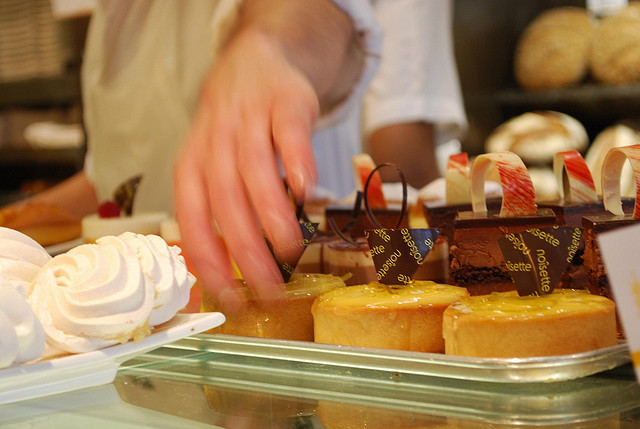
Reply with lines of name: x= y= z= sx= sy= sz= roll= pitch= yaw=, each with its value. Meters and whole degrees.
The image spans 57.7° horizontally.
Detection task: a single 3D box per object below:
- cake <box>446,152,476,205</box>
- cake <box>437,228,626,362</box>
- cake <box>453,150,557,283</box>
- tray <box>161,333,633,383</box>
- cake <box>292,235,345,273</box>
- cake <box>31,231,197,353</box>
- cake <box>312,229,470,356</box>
cake: x=0.333 y=-0.081 z=1.369 sx=0.044 sy=0.131 sz=0.131 roll=1 pitch=6 yaw=13
cake: x=0.423 y=0.151 z=1.145 sx=0.316 sy=0.240 sz=0.329 roll=-6 pitch=-6 yaw=10
cake: x=0.413 y=0.084 z=1.271 sx=0.200 sy=0.353 sz=0.224 roll=6 pitch=-26 yaw=22
tray: x=0.108 y=0.254 z=1.053 sx=0.844 sy=0.103 sz=0.091 roll=-5 pitch=8 yaw=15
cake: x=-0.013 y=0.093 z=1.475 sx=0.086 sy=0.092 sz=0.087 roll=-1 pitch=4 yaw=3
cake: x=-0.389 y=0.137 z=1.116 sx=0.297 sy=0.180 sz=0.199 roll=-11 pitch=8 yaw=-29
cake: x=0.141 y=0.102 z=1.167 sx=0.262 sy=0.206 sz=0.255 roll=-2 pitch=2 yaw=-38
